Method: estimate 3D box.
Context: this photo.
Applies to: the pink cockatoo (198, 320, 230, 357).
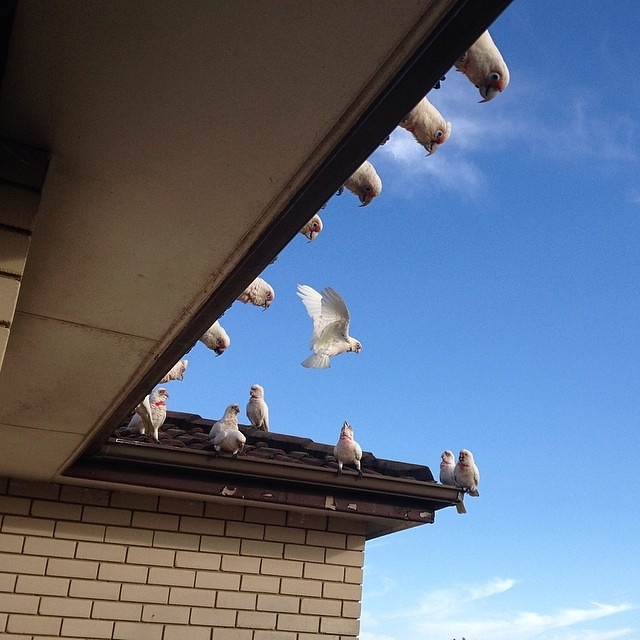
[{"bbox_3d":[-0.584,0.083,5.665,0.059,0.193,0.077,8,17,36],"label":"pink cockatoo"}]
